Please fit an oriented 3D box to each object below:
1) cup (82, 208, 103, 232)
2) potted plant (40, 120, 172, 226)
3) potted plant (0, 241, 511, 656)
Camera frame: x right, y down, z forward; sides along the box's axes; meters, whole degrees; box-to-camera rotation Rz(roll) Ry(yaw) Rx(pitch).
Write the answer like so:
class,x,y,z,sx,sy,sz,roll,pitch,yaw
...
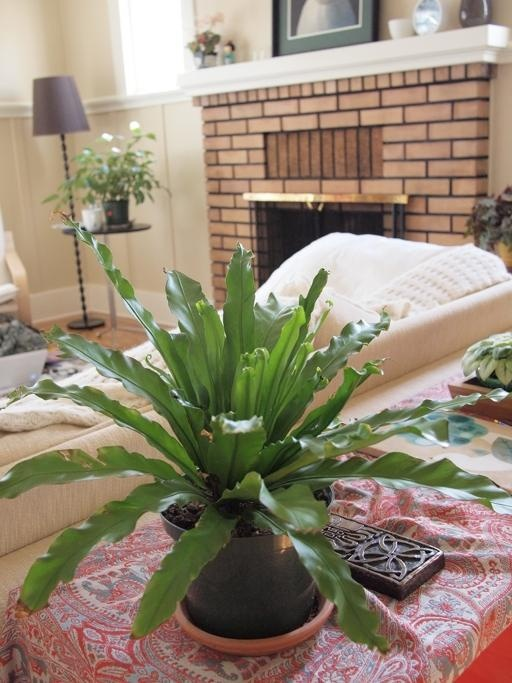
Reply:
class,x,y,z,sx,sy,sz,roll,pitch,yaw
cup,-1.194,-0.905,4.061,0.161,0.196,0.312,-6,12,-15
potted plant,-1.141,-1.344,4.436,0.784,0.851,1.206,-7,12,-17
potted plant,-0.026,0.133,0.535,0.418,0.178,0.391,-13,42,-16
